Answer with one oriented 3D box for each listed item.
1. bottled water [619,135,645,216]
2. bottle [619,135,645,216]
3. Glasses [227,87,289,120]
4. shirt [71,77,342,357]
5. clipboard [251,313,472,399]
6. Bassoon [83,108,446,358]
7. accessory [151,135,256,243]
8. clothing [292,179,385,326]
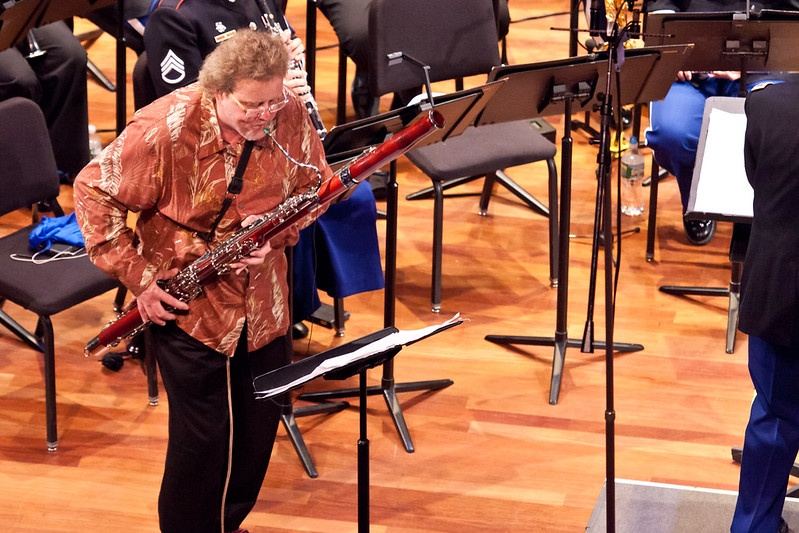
[{"bbox_3d":[1.520,-0.596,5.234,0.157,0.504,0.314,4,16,14],"label":"bottled water"},{"bbox_3d":[1.520,-0.596,5.234,0.157,0.504,0.314,4,16,14],"label":"bottle"},{"bbox_3d":[-0.433,-0.534,2.664,0.111,0.079,0.233,10,17,32],"label":"Glasses"},{"bbox_3d":[-0.651,-0.201,2.878,0.900,0.887,0.503,-8,37,-29],"label":"shirt"},{"bbox_3d":[-0.153,0.397,3.430,0.853,0.142,0.226,-18,11,-9],"label":"clipboard"},{"bbox_3d":[-0.519,-0.093,3.119,2.033,0.276,0.243,-33,15,10],"label":"Bassoon"},{"bbox_3d":[-0.641,-0.249,2.727,0.238,0.389,0.092,8,26,-40],"label":"accessory"},{"bbox_3d":[-0.226,-0.062,4.181,0.610,0.753,0.642,-2,4,-1],"label":"clothing"}]
